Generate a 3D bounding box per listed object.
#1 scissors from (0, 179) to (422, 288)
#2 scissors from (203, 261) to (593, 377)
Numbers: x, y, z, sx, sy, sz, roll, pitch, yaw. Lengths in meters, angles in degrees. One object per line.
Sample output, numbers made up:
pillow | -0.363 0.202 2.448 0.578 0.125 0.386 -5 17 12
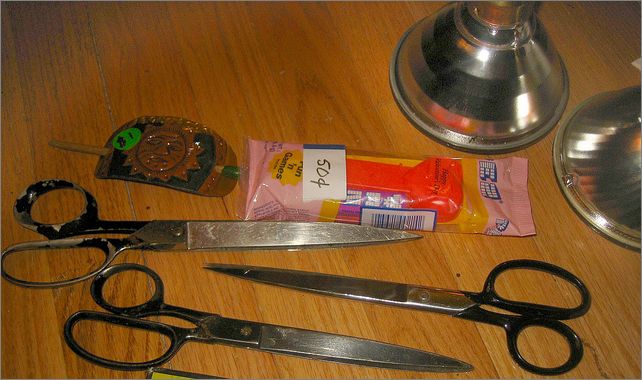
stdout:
scissors | -0.114 0.082 1.044 0.850 0.049 0.265 2 65 -1
scissors | 0.149 0.244 1.114 0.627 0.069 0.239 10 67 3
